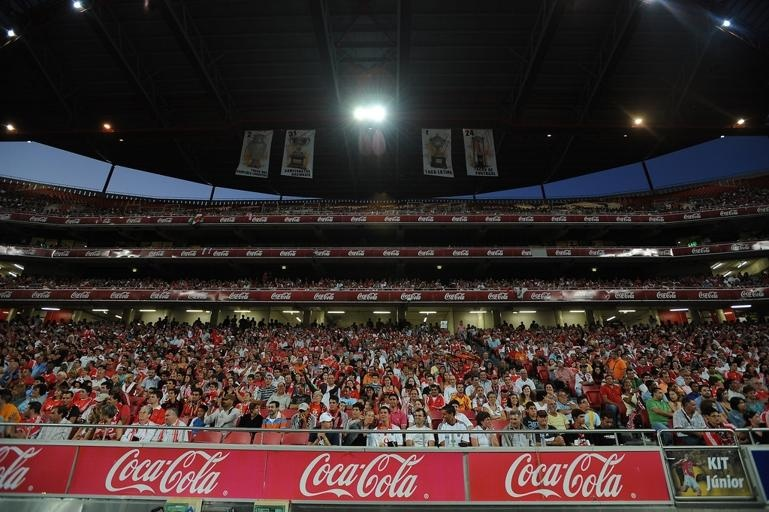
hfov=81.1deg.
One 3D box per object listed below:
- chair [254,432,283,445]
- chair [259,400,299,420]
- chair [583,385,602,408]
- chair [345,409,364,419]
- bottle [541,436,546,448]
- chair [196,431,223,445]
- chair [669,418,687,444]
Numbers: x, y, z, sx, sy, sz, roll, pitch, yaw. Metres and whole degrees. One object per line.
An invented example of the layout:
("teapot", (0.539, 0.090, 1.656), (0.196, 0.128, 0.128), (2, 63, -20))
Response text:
("chair", (-4.209, 6.600, 16.433), (0.759, 0.390, 1.149), (12, -26, -25))
("chair", (-4.252, 6.145, 18.274), (1.364, 0.716, 2.324), (6, -24, -13))
("chair", (9.093, 6.089, 19.845), (0.656, 1.031, 0.830), (-11, -27, 23))
("chair", (-1.106, 5.988, 17.049), (0.634, 0.374, 0.684), (-3, -26, 11))
("bottle", (5.419, 6.365, 15.526), (0.187, 0.363, 1.224), (-7, -25, 17))
("chair", (-6.335, 6.495, 16.301), (0.962, 0.377, 0.573), (5, -24, -10))
("chair", (10.687, 6.439, 16.733), (0.575, 0.954, 1.472), (-14, -28, 29))
